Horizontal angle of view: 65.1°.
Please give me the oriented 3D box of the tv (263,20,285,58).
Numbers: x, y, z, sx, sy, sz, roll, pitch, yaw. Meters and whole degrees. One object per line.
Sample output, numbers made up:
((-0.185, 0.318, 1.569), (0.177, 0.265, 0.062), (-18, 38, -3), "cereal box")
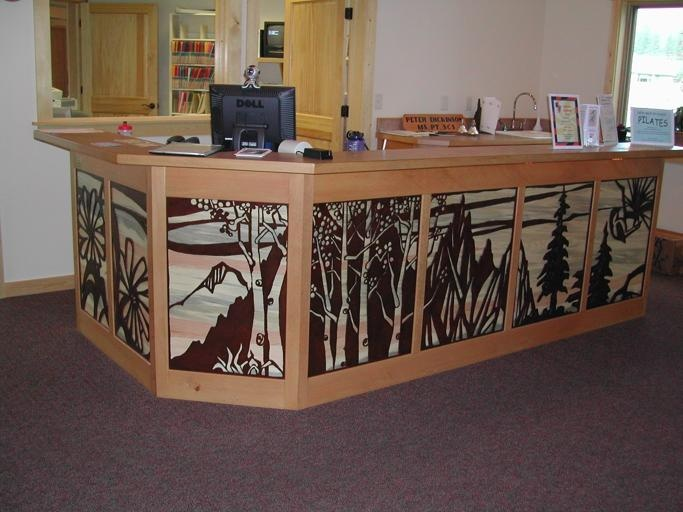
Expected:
((-0.916, -2.879, 7.085), (0.249, 0.476, 0.534), (3, 15, -12), "tv")

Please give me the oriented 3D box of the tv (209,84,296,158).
((-0.524, -0.809, 3.195), (0.491, 0.417, 0.175), (1, 33, 0), "tv")
